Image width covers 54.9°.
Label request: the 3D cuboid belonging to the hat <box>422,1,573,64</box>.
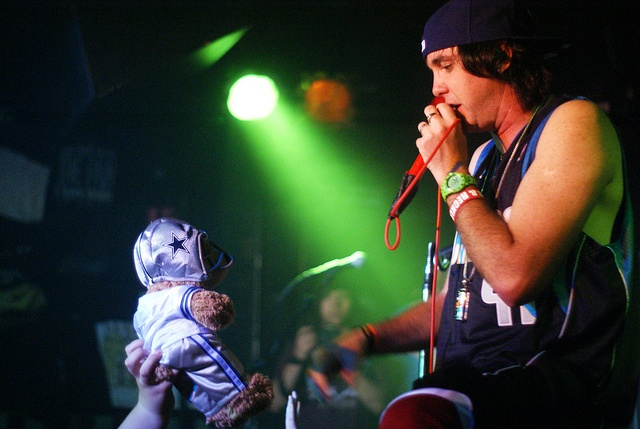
[{"bbox_3d":[0.807,-0.896,3.034,0.486,0.217,0.358,-4,-2,3],"label":"hat"}]

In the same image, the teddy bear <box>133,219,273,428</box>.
[{"bbox_3d":[-0.669,0.580,3.434,0.739,1.159,0.345,-3,-7,-13],"label":"teddy bear"}]

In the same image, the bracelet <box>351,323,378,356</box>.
[{"bbox_3d":[0.246,0.636,3.274,0.134,0.069,0.176,-33,2,-2],"label":"bracelet"}]
